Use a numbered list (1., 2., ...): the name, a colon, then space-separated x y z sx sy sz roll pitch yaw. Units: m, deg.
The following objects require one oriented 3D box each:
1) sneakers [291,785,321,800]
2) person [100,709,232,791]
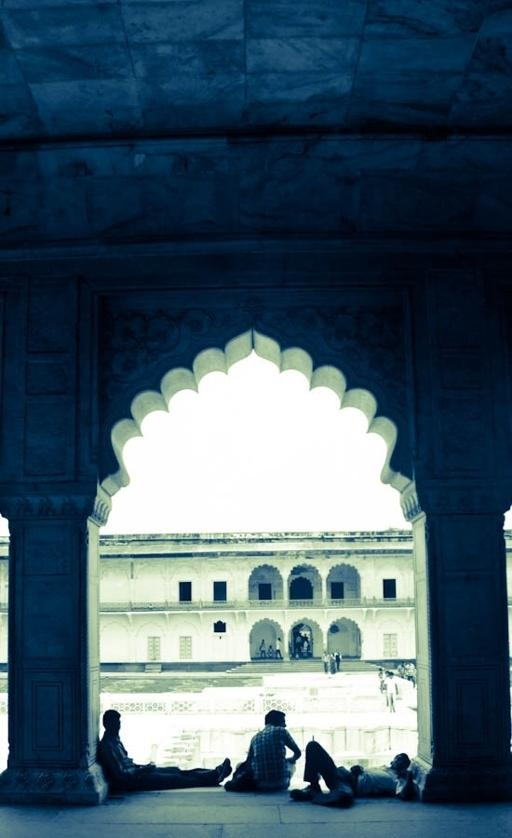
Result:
1. sneakers: 0.258 1.979 7.927 0.165 0.072 0.061 7 -11 -8
2. person: -0.500 1.831 8.235 0.705 0.444 0.296 1 -2 -10
